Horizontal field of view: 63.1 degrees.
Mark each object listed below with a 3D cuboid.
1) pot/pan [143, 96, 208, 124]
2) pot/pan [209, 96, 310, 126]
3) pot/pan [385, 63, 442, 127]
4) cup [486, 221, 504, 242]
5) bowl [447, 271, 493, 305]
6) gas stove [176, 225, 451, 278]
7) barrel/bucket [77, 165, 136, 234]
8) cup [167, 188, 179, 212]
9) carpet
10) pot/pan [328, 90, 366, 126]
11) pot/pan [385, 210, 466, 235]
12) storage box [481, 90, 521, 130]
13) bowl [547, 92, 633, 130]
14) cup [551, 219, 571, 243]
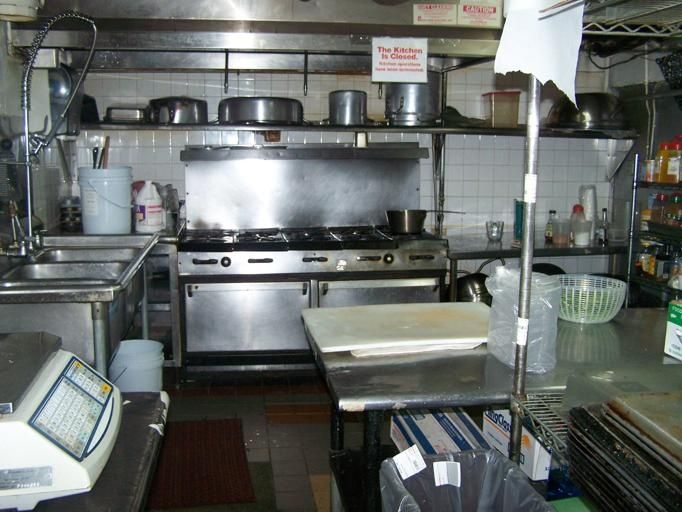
[{"bbox_3d":[-1.106,-0.923,3.752,0.323,0.140,0.295,2,5,8],"label":"pot/pan"},{"bbox_3d":[-0.522,-0.955,3.646,0.340,0.087,0.314,-1,5,-21],"label":"pot/pan"},{"bbox_3d":[0.516,-1.107,3.859,0.447,0.422,0.413,3,12,13],"label":"pot/pan"},{"bbox_3d":[1.162,-0.190,4.266,0.166,0.164,0.160,-1,5,0],"label":"cup"},{"bbox_3d":[0.957,0.234,4.023,0.247,0.193,0.389,4,12,11],"label":"bowl"},{"bbox_3d":[-0.198,-0.037,3.995,1.836,0.275,0.554,0,12,-7],"label":"gas stove"},{"bbox_3d":[-1.418,-0.343,3.349,0.462,0.421,0.392,-1,10,-15],"label":"barrel/bucket"},{"bbox_3d":[-1.264,-0.434,4.174,0.096,0.155,0.298,-2,13,-16],"label":"cup"},{"bbox_3d":[-0.698,0.887,2.815,0.608,0.027,0.789,1,6,-13],"label":"carpet"},{"bbox_3d":[0.047,-1.008,3.849,0.294,0.220,0.257,-3,8,-18],"label":"pot/pan"},{"bbox_3d":[0.578,-0.261,4.114,0.419,0.107,0.209,0,1,-7],"label":"pot/pan"},{"bbox_3d":[1.217,-1.102,4.166,0.227,0.280,0.215,7,14,19],"label":"storage box"},{"bbox_3d":[1.980,-1.160,4.422,0.699,0.295,0.280,-1,13,-14],"label":"bowl"},{"bbox_3d":[1.689,-0.188,4.261,0.177,0.178,0.177,0,1,0],"label":"cup"}]
